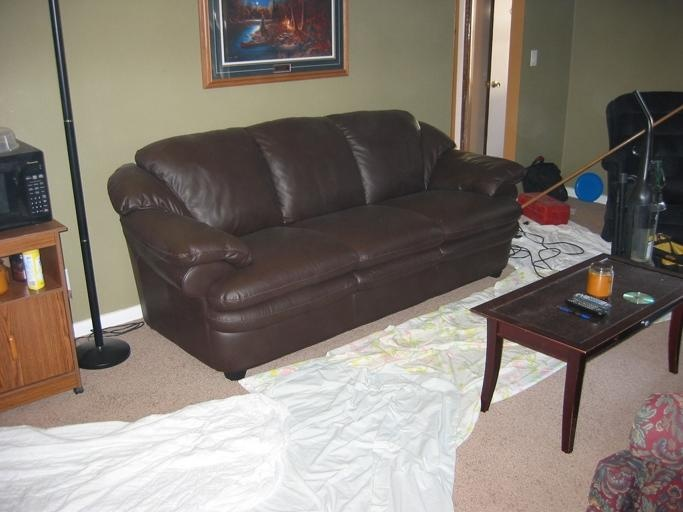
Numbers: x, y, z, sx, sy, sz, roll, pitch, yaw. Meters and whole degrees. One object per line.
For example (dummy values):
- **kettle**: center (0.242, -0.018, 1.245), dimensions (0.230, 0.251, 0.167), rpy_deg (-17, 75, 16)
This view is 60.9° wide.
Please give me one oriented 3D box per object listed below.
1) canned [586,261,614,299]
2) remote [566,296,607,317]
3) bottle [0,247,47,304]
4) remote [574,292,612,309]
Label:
- **canned**: center (1.232, 0.109, 2.779), dimensions (0.111, 0.184, 0.183), rpy_deg (2, 7, 23)
- **remote**: center (1.121, 0.218, 2.642), dimensions (0.115, 0.029, 0.089), rpy_deg (18, 28, 36)
- **bottle**: center (-1.505, 0.076, 2.774), dimensions (0.261, 0.261, 0.163), rpy_deg (-6, 15, -16)
- **remote**: center (1.157, 0.201, 2.673), dimensions (0.067, 0.028, 0.122), rpy_deg (-22, 29, -40)
